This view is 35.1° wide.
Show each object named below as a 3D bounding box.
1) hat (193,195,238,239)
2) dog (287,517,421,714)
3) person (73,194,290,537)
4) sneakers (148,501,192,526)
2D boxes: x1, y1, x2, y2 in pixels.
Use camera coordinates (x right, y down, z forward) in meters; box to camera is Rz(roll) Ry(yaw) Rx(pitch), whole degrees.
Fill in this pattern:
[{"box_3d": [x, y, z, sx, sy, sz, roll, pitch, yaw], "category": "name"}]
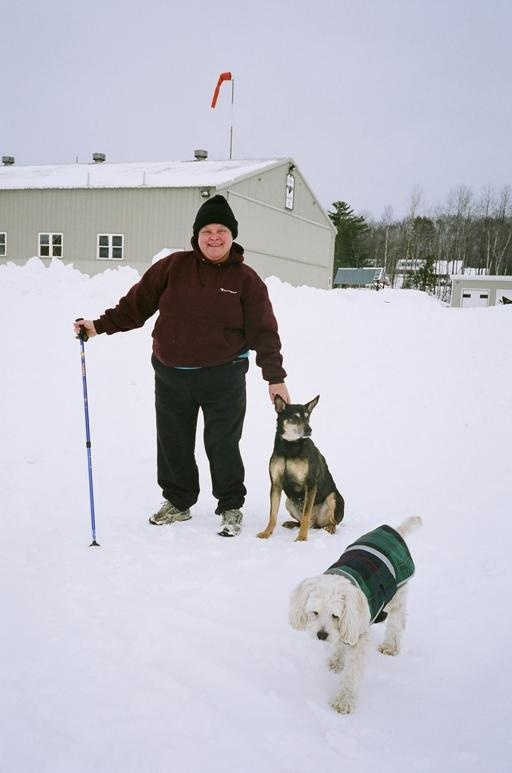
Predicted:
[{"box_3d": [-0.214, -0.919, 4.349, 0.227, 0.233, 0.225, 1, 11, -9], "category": "hat"}, {"box_3d": [0.371, 0.878, 3.124, 0.282, 0.503, 0.701, 9, 13, 28], "category": "dog"}, {"box_3d": [-0.331, -0.123, 4.501, 1.036, 1.860, 0.434, 10, 13, 30], "category": "person"}, {"box_3d": [-0.494, 0.749, 4.661, 0.271, 0.115, 0.096, 4, -10, -28], "category": "sneakers"}]
